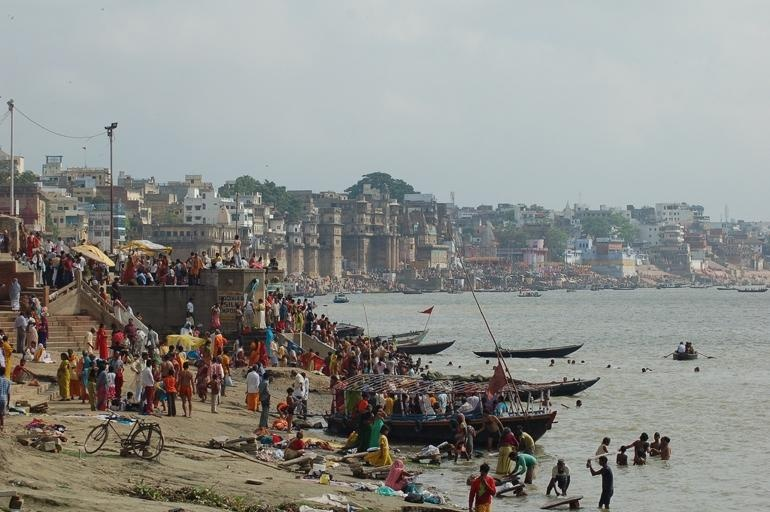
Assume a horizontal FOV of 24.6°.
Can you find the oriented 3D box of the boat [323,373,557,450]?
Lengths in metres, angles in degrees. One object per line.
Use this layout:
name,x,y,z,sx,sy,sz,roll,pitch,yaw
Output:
boat,2.363,6.891,83.920,11.797,3.744,8.476,-1,-7,6
